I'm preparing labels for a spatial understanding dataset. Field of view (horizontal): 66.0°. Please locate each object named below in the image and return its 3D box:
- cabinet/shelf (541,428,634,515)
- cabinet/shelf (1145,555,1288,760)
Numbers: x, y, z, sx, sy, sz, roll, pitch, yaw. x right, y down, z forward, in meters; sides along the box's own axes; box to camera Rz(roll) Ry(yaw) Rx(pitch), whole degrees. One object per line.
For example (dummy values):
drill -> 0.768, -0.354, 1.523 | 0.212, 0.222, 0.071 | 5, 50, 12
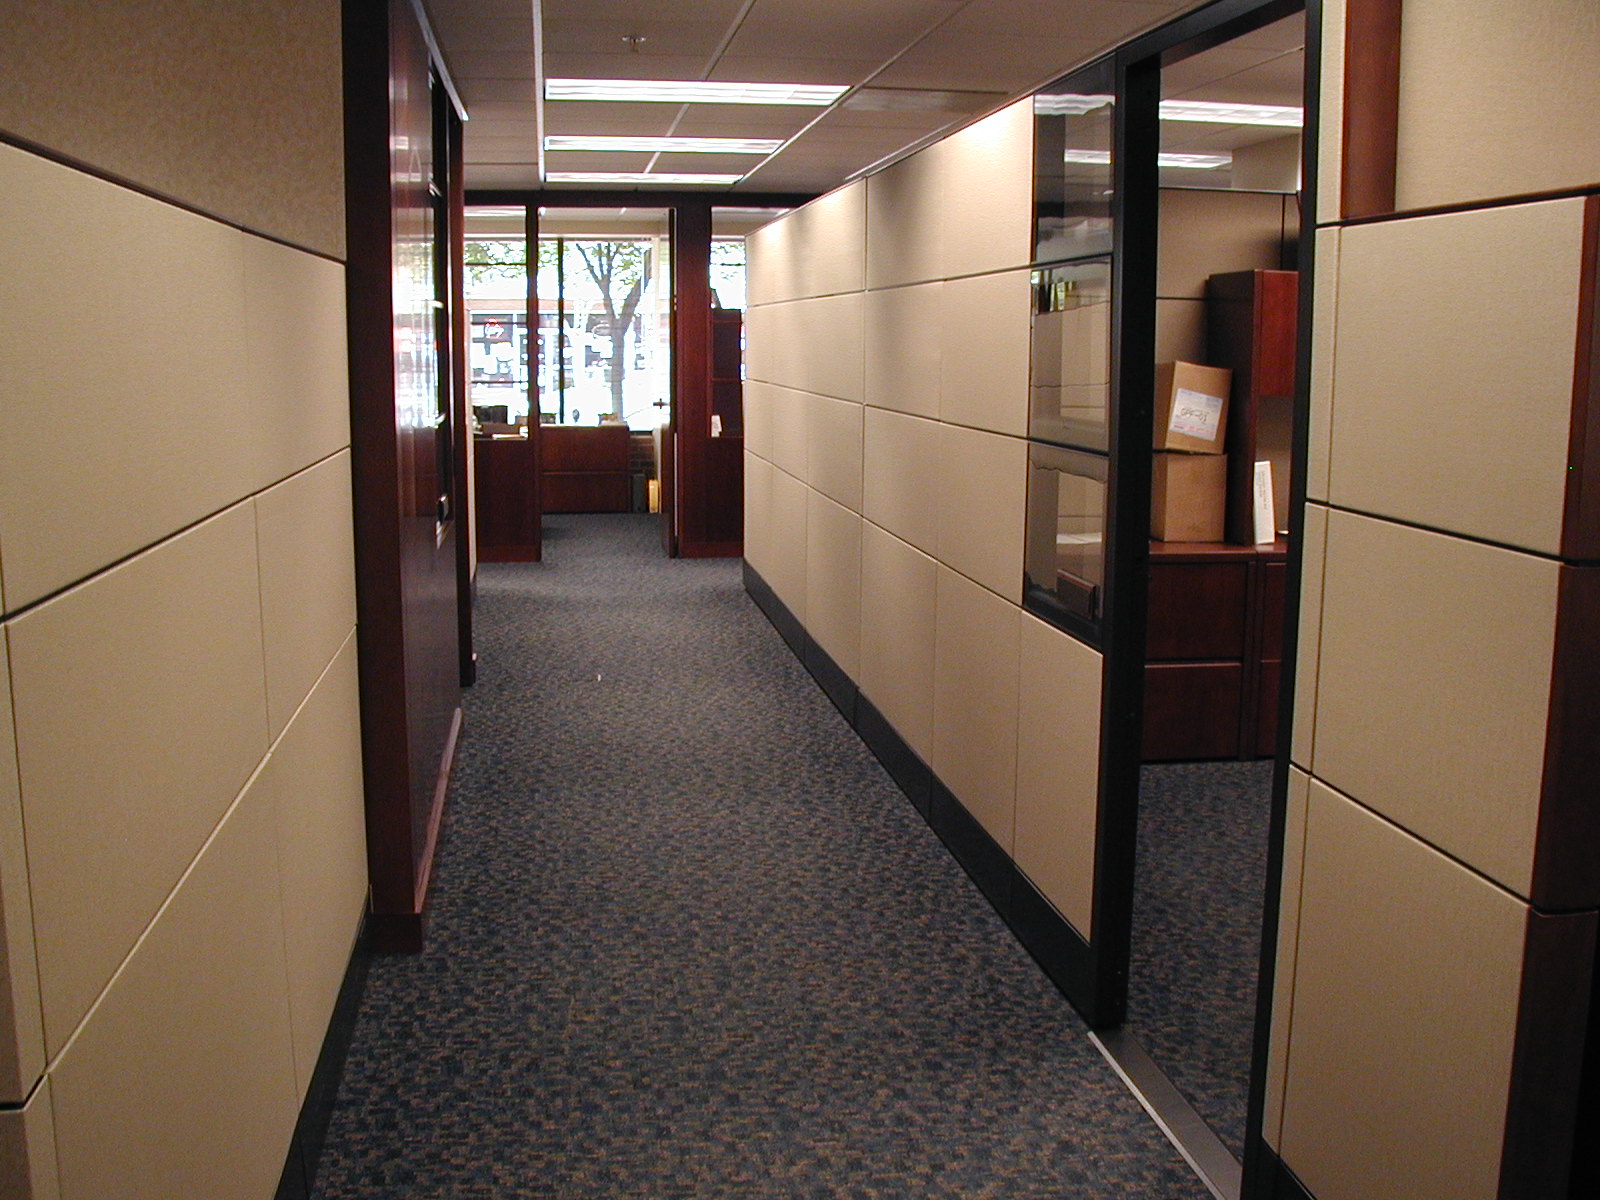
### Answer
cabinet/shelf -> -2.182, -1.424, 13.179 | 0.833, 0.719, 0.896 | -1, 8, -6
cabinet/shelf -> 1.742, 0.197, 5.176 | 0.378, 0.779, 0.753 | 1, 8, 6
